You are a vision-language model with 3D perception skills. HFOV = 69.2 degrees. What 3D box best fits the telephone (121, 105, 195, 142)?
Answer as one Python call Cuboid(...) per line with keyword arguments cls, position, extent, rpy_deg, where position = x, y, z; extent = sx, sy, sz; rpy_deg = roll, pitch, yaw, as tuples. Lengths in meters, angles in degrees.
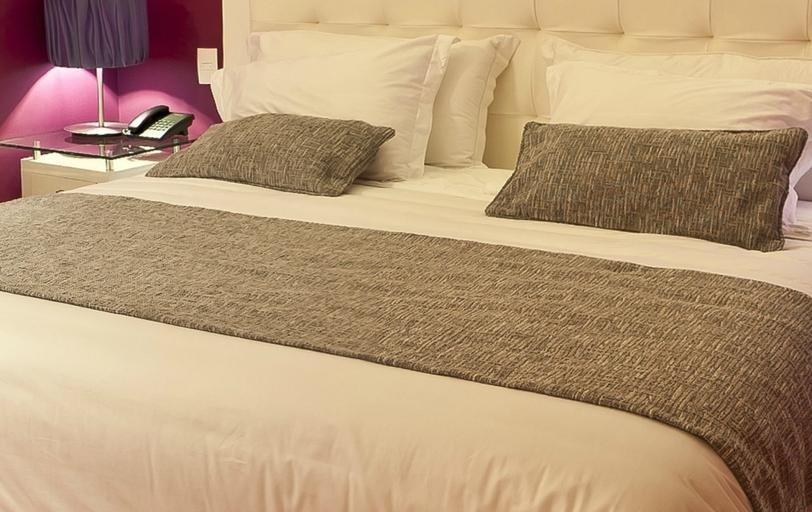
Cuboid(cls="telephone", position=(-1.334, -0.716, 3.179), extent=(0.355, 0.115, 0.286), rpy_deg=(2, 27, 3))
